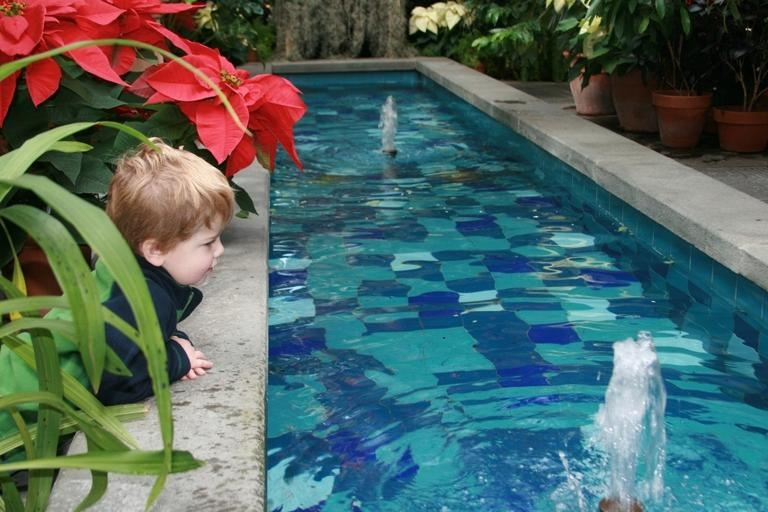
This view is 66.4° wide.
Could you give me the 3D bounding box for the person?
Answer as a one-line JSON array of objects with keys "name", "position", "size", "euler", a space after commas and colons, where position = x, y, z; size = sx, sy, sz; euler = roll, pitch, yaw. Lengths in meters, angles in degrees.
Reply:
[{"name": "person", "position": [-0.731, 0.109, 1.591], "size": [0.663, 0.802, 0.326], "euler": [-16, 22, -38]}]
